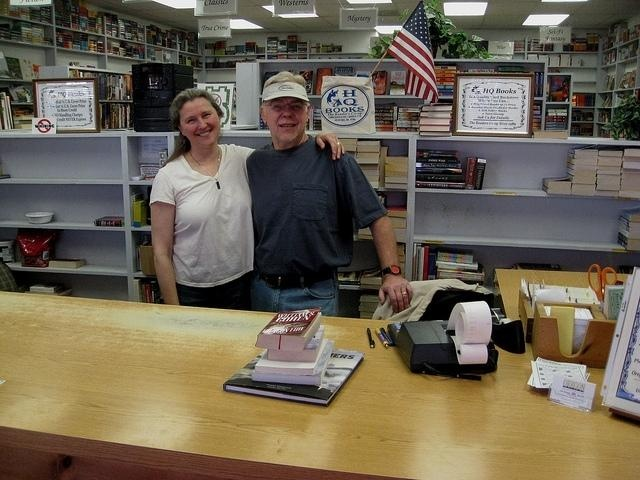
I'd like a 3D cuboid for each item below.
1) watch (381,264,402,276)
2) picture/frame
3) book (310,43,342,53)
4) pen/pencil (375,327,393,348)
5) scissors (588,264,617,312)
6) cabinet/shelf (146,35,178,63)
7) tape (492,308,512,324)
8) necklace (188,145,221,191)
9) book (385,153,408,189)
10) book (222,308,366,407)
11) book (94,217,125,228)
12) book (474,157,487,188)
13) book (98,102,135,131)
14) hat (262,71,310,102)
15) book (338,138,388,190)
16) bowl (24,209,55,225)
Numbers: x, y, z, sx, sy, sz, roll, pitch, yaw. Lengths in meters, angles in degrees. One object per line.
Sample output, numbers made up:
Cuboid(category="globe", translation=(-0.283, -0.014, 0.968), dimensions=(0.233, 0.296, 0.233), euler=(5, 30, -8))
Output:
Cuboid(category="watch", translation=(0.332, 0.150, 2.157), dimensions=(0.076, 0.043, 0.072), euler=(7, -23, -37))
Cuboid(category="picture/frame", translation=(-2.197, -1.162, 4.014), dimensions=(0.484, 0.403, 0.041), euler=(2, 11, 6))
Cuboid(category="book", translation=(0.164, -5.343, 12.882), dimensions=(0.893, 0.313, 0.243), euler=(0, 13, -1))
Cuboid(category="pen/pencil", translation=(0.232, 0.358, 1.672), dimensions=(0.030, 0.016, 0.125), euler=(-4, 14, -5))
Cuboid(category="scissors", translation=(1.210, 0.205, 1.988), dimensions=(0.009, 0.116, 0.093), euler=(-20, 6, -18))
Cuboid(category="cabinet/shelf", translation=(-4.080, -4.829, 11.983), dimensions=(0.171, 0.522, 1.416), euler=(3, 13, 13))
Cuboid(category="tape", translation=(0.670, 0.286, 1.699), dimensions=(0.055, 0.026, 0.077), euler=(0, 6, 15))
Cuboid(category="necklace", translation=(-0.657, -0.465, 2.612), dimensions=(0.147, 0.246, 0.183), euler=(3, 3, -6))
Cuboid(category="book", translation=(0.591, -0.515, 3.588), dimensions=(0.286, 0.272, 0.205), euler=(-1, 6, 5))
Cuboid(category="book", translation=(-0.068, 0.361, 1.396), dimensions=(0.287, 0.132, 0.288), euler=(3, 15, 20))
Cuboid(category="book", translation=(-1.905, -0.167, 4.242), dimensions=(0.315, 0.065, 0.210), euler=(2, 13, 8))
Cuboid(category="book", translation=(1.263, -0.538, 3.644), dimensions=(0.084, 0.239, 0.228), euler=(2, 11, 5))
Cuboid(category="book", translation=(-3.560, -2.185, 8.068), dimensions=(0.422, 0.469, 0.991), euler=(-4, 13, -15))
Cuboid(category="hat", translation=(-0.173, -0.756, 2.280), dimensions=(0.212, 0.149, 0.240), euler=(-1, 13, -6))
Cuboid(category="book", translation=(0.342, -0.553, 3.694), dimensions=(0.487, 0.477, 0.347), euler=(1, 11, 5))
Cuboid(category="bowl", translation=(-2.631, -0.207, 4.300), dimensions=(0.189, 0.066, 0.183), euler=(2, 9, 0))
